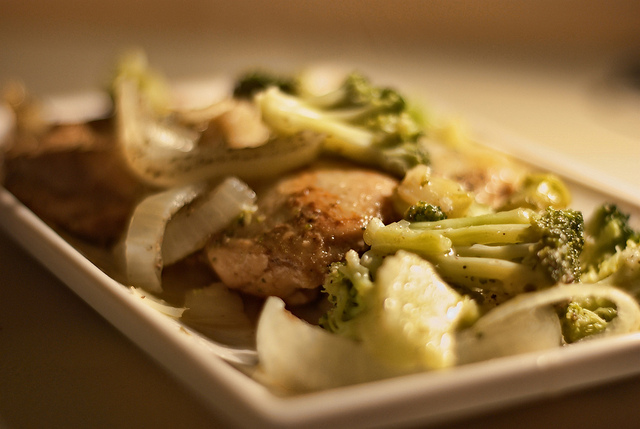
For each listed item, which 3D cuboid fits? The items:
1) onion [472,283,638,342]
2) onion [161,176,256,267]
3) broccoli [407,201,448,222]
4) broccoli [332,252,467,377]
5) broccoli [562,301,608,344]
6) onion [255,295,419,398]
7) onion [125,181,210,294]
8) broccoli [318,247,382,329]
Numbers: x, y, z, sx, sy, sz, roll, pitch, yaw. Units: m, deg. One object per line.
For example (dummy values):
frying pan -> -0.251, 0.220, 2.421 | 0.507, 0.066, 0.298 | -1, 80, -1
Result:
onion -> 0.804, 0.279, 1.911 | 0.328, 0.081, 0.262 | -12, 8, -25
onion -> -0.438, 0.016, 2.363 | 0.227, 0.389, 0.106 | 45, 3, -3
broccoli -> 0.388, -0.021, 2.111 | 0.090, 0.041, 0.078 | 13, -1, 31
broccoli -> 0.271, 0.320, 1.913 | 0.371, 0.255, 0.249 | 21, 33, 12
broccoli -> 0.879, 0.368, 2.008 | 0.130, 0.053, 0.132 | -32, 66, -9
onion -> 0.013, 0.459, 1.942 | 0.331, 0.144, 0.291 | 37, -18, -21
onion -> -0.609, 0.090, 2.362 | 0.260, 0.379, 0.136 | 21, -3, 3
broccoli -> 0.118, 0.243, 1.979 | 0.108, 0.240, 0.235 | 22, -19, 9
